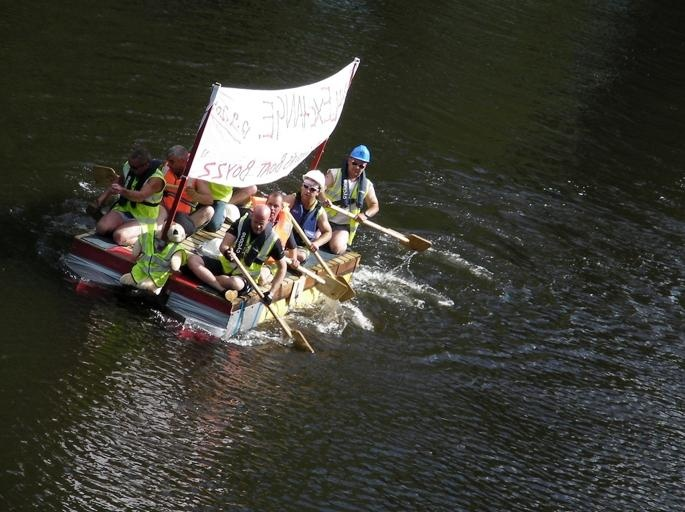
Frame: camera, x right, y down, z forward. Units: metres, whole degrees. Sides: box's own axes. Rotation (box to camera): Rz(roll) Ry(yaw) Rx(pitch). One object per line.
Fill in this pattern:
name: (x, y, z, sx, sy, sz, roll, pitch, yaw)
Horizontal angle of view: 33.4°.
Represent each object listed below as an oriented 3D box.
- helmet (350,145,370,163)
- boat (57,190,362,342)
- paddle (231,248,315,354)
helmet: (0.319, -2.125, 23.829, 0.374, 0.230, 0.436, 20, 7, -17)
boat: (-2.212, 0.484, 22.098, 3.646, 0.813, 3.682, 29, 36, 33)
paddle: (-1.428, 0.881, 21.975, 0.271, 0.139, 2.416, -40, 105, -25)
